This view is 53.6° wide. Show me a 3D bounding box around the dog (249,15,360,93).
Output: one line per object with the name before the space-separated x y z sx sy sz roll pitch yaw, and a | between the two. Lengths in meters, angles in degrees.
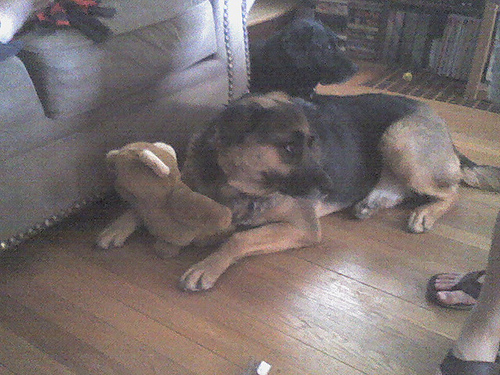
dog | 0.245 -0.553 2.201 0.417 0.168 0.305 32 64 29

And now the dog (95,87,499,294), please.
dog | 0.322 -0.152 2.322 1.872 0.573 0.743 -18 17 -26

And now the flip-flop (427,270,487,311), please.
flip-flop | 0.807 0.409 1.932 0.281 0.106 0.185 3 23 5
